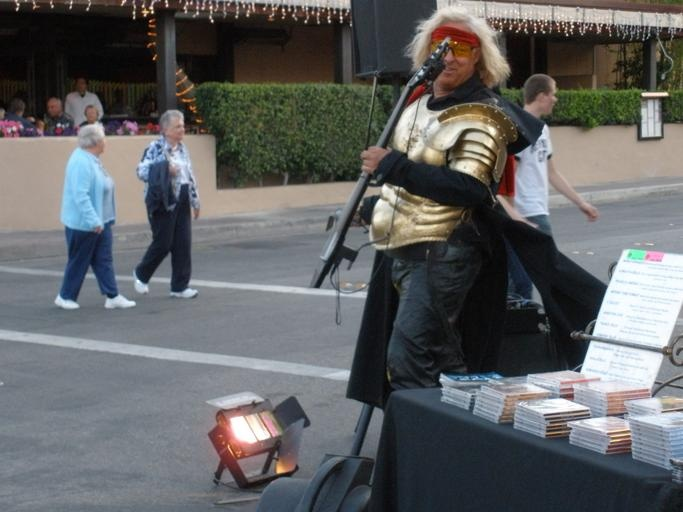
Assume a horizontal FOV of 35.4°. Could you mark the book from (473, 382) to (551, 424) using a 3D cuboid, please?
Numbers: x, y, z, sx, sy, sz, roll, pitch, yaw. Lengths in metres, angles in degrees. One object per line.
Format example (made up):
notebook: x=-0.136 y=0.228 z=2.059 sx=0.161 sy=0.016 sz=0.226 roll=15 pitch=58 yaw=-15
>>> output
book: x=0.800 y=0.684 z=5.068 sx=0.228 sy=0.080 sz=0.224 roll=-4 pitch=7 yaw=-28

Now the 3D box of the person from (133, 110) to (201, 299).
person: x=-1.942 y=-0.586 z=11.858 sx=0.703 sy=2.050 sz=0.646 roll=0 pitch=11 yaw=1

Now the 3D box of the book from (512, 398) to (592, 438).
book: x=0.979 y=0.744 z=4.941 sx=0.237 sy=0.078 sz=0.192 roll=-4 pitch=7 yaw=-35

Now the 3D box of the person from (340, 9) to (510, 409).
person: x=0.531 y=-0.253 z=6.405 sx=0.990 sy=2.472 sz=0.899 roll=0 pitch=11 yaw=1

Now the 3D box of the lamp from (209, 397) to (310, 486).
lamp: x=-0.534 y=1.105 z=6.810 sx=0.531 sy=0.614 sz=0.698 roll=-6 pitch=-8 yaw=39

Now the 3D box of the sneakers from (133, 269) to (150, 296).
sneakers: x=-2.240 y=0.284 z=12.062 sx=0.125 sy=0.331 sz=0.148 roll=-8 pitch=4 yaw=-20

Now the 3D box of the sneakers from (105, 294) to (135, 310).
sneakers: x=-2.340 y=0.497 z=11.336 sx=0.340 sy=0.150 sz=0.135 roll=0 pitch=2 yaw=-4

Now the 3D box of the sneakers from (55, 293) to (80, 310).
sneakers: x=-2.902 y=0.477 z=11.297 sx=0.230 sy=0.092 sz=0.133 roll=27 pitch=1 yaw=40

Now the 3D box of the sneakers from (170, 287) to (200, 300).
sneakers: x=-1.721 y=0.411 z=11.843 sx=0.309 sy=0.138 sz=0.115 roll=-2 pitch=-5 yaw=12

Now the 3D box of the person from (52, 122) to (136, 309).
person: x=-2.635 y=-0.411 z=11.237 sx=0.783 sy=1.939 sz=0.649 roll=-5 pitch=12 yaw=-23
